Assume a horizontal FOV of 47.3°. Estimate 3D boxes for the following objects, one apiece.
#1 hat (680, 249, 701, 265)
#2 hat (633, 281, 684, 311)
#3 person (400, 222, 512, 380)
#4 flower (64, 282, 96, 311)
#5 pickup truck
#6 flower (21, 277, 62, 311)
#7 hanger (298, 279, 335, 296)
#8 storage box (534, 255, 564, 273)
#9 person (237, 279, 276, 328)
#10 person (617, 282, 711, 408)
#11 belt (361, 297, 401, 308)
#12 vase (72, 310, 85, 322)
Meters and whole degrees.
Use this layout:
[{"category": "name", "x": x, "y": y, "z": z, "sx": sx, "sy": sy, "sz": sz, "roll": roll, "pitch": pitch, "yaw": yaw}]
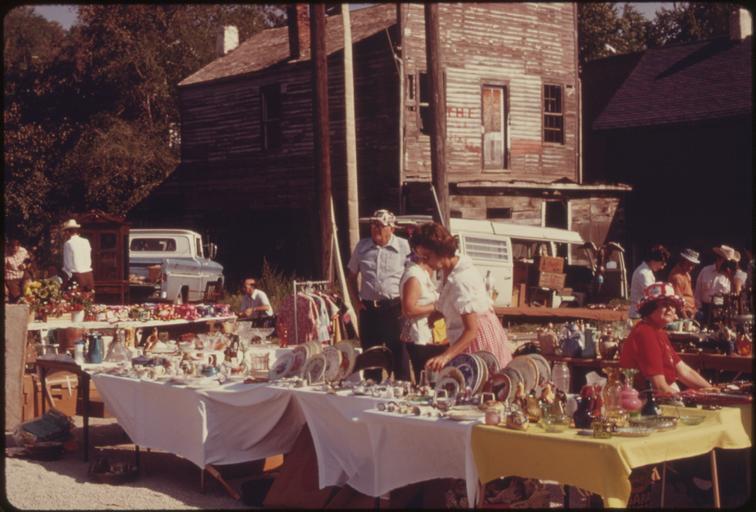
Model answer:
[{"category": "hat", "x": 6.186, "y": 0.021, "z": 16.961, "sx": 0.445, "sy": 0.195, "sz": 0.504, "roll": 29, "pitch": 4, "yaw": 24}, {"category": "hat", "x": 3.381, "y": 0.484, "z": 10.248, "sx": 0.455, "sy": 0.250, "sz": 0.343, "roll": 1, "pitch": -4, "yaw": 7}, {"category": "person", "x": 1.010, "y": 0.519, "z": 10.312, "sx": 1.131, "sy": 1.779, "sz": 1.027, "roll": 0, "pitch": 13, "yaw": 9}, {"category": "flower", "x": -5.691, "y": 0.771, "z": 16.426, "sx": 0.393, "sy": 0.487, "sz": 0.350, "roll": 3, "pitch": 8, "yaw": -8}, {"category": "pickup truck", "x": -5.867, "y": 0.207, "z": 24.280, "sx": 1.687, "sy": 1.406, "sz": 2.631, "roll": 0, "pitch": 3, "yaw": 18}, {"category": "flower", "x": -5.795, "y": 0.657, "z": 14.886, "sx": 0.561, "sy": 0.690, "sz": 0.621, "roll": 1, "pitch": 0, "yaw": -3}, {"category": "hanger", "x": -1.217, "y": 0.635, "z": 17.625, "sx": 0.320, "sy": 0.457, "sz": 1.110, "roll": -2, "pitch": -1, "yaw": 42}, {"category": "storage box", "x": 4.469, "y": 0.199, "z": 22.345, "sx": 0.714, "sy": 0.480, "sz": 0.392, "roll": 1, "pitch": 1, "yaw": -8}, {"category": "person", "x": -2.694, "y": 1.094, "z": 19.443, "sx": 0.815, "sy": 1.441, "sz": 0.717, "roll": 11, "pitch": -26, "yaw": -37}, {"category": "person", "x": 3.366, "y": 1.024, "z": 10.117, "sx": 0.948, "sy": 1.278, "sz": 0.746, "roll": -11, "pitch": 16, "yaw": -32}, {"category": "belt", "x": 0.029, "y": 0.637, "z": 11.912, "sx": 0.576, "sy": 0.117, "sz": 0.153, "roll": 1, "pitch": 14, "yaw": 15}, {"category": "vase", "x": -5.260, "y": 1.057, "z": 15.181, "sx": 0.243, "sy": 0.188, "sz": 0.164, "roll": -10, "pitch": 15, "yaw": -30}]
